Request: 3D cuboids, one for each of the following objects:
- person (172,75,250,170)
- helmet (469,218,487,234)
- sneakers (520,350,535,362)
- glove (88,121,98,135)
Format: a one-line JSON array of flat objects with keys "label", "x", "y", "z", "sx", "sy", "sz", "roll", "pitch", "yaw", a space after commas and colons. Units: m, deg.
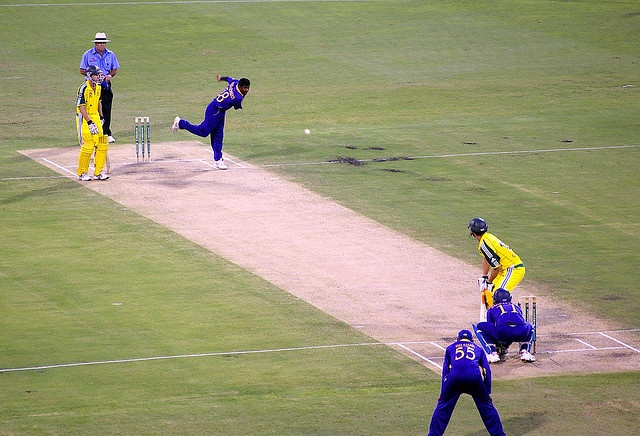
[{"label": "person", "x": -3.257, "y": -2.954, "z": 46.763, "sx": 2.071, "sy": 3.005, "sz": 1.115, "roll": 1, "pitch": 19, "yaw": -2}, {"label": "helmet", "x": 4.002, "y": 0.228, "z": 38.021, "sx": 0.408, "sy": 0.387, "sz": 0.541, "roll": 4, "pitch": 13, "yaw": 10}, {"label": "sneakers", "x": 5.121, "y": 3.483, "z": 37.183, "sx": 0.253, "sy": 0.154, "sz": 0.485, "roll": 5, "pitch": 9, "yaw": 25}, {"label": "glove", "x": -6.691, "y": -2.635, "z": 44.692, "sx": 0.310, "sy": 0.369, "sz": 0.229, "roll": -1, "pitch": 17, "yaw": -6}]
